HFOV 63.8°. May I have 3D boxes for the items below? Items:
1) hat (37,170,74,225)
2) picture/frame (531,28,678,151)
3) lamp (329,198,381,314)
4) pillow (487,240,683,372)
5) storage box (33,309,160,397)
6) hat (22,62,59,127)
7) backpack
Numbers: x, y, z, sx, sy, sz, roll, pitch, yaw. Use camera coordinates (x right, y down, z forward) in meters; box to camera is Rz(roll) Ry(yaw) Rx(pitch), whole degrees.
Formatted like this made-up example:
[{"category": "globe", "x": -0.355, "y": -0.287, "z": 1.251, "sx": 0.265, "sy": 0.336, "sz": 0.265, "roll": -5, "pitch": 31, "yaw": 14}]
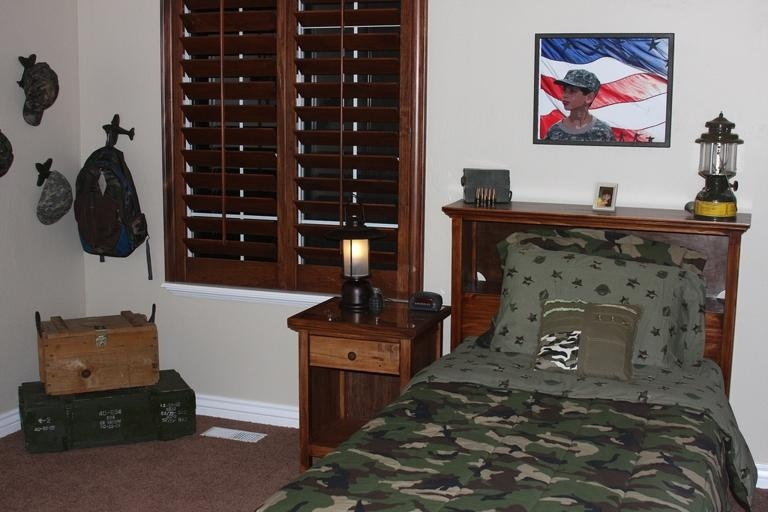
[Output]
[{"category": "hat", "x": -2.112, "y": -0.368, "z": 3.927, "sx": 0.225, "sy": 0.346, "sz": 0.130, "roll": -12, "pitch": 20, "yaw": -37}, {"category": "picture/frame", "x": 1.225, "y": -0.912, "z": 3.325, "sx": 0.858, "sy": 0.547, "sz": 0.031, "roll": 2, "pitch": 9, "yaw": 14}, {"category": "lamp", "x": -0.156, "y": 0.002, "z": 3.485, "sx": 0.314, "sy": 0.568, "sz": 0.269, "roll": 0, "pitch": 9, "yaw": 1}, {"category": "pillow", "x": 0.996, "y": 0.237, "z": 2.974, "sx": 1.061, "sy": 0.493, "sz": 0.255, "roll": 6, "pitch": -4, "yaw": 7}, {"category": "storage box", "x": -1.708, "y": 0.609, "z": 3.717, "sx": 0.842, "sy": 0.451, "sz": 0.523, "roll": -3, "pitch": 10, "yaw": -15}, {"category": "hat", "x": -2.155, "y": -1.003, "z": 3.850, "sx": 0.277, "sy": 0.333, "sz": 0.122, "roll": 1, "pitch": -1, "yaw": -27}, {"category": "backpack", "x": -1.765, "y": -0.350, "z": 3.963, "sx": 0.426, "sy": 0.687, "sz": 0.242, "roll": -2, "pitch": 16, "yaw": -7}]
